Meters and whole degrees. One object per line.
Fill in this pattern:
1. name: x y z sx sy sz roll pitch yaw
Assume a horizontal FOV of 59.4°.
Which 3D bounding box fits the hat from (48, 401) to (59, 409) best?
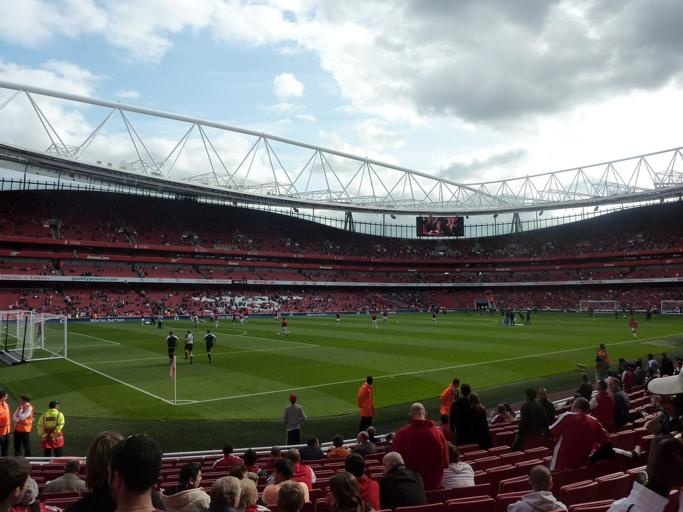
1. hat: -8.009 4.129 16.684 0.225 0.229 0.251 7 15 -15
